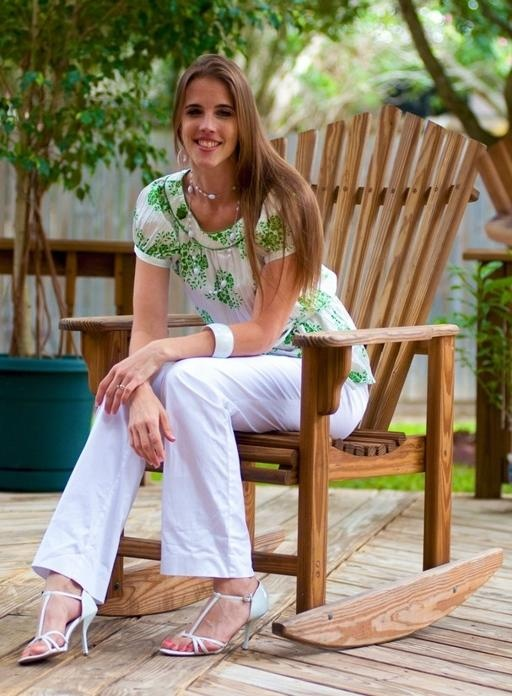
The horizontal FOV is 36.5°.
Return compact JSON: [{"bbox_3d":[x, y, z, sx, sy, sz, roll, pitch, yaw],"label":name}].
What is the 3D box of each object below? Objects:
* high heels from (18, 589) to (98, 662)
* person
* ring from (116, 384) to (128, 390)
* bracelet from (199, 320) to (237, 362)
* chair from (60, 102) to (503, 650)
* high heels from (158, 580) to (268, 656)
[{"bbox_3d":[-0.309,0.442,1.224,0.063,0.077,0.112,3,0,26],"label":"high heels"},{"bbox_3d":[-0.072,-0.009,1.415,0.489,0.803,0.536,3,1,6],"label":"person"},{"bbox_3d":[-0.226,0.067,1.296,0.011,0.010,0.004,-5,-38,17],"label":"ring"},{"bbox_3d":[-0.076,-0.013,1.387,0.056,0.095,0.105,-8,9,-7],"label":"bracelet"},{"bbox_3d":[0.016,0.027,1.682,0.755,1.070,0.981,7,11,35],"label":"chair"},{"bbox_3d":[-0.058,0.441,1.337,0.233,0.117,0.081,-5,9,-31],"label":"high heels"}]
